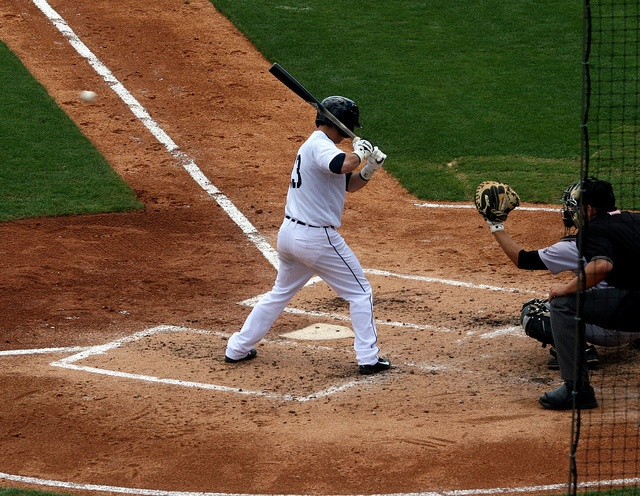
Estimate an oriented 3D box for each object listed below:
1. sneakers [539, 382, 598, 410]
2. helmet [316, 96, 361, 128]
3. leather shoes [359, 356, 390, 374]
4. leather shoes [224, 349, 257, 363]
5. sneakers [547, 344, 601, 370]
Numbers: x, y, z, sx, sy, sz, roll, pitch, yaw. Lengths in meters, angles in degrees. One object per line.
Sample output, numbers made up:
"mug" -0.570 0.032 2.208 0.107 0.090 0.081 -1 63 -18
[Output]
"sneakers" 2.380 1.448 8.325 0.701 0.182 0.233 0 10 3
"helmet" 0.182 -1.438 9.146 0.623 0.247 0.351 15 7 1
"leather shoes" 0.597 1.252 9.183 0.427 0.101 0.138 -7 14 -24
"leather shoes" -0.922 1.194 9.522 0.432 0.104 0.122 -11 21 -22
"sneakers" 2.567 1.144 9.063 0.268 0.189 0.647 -6 7 -35
